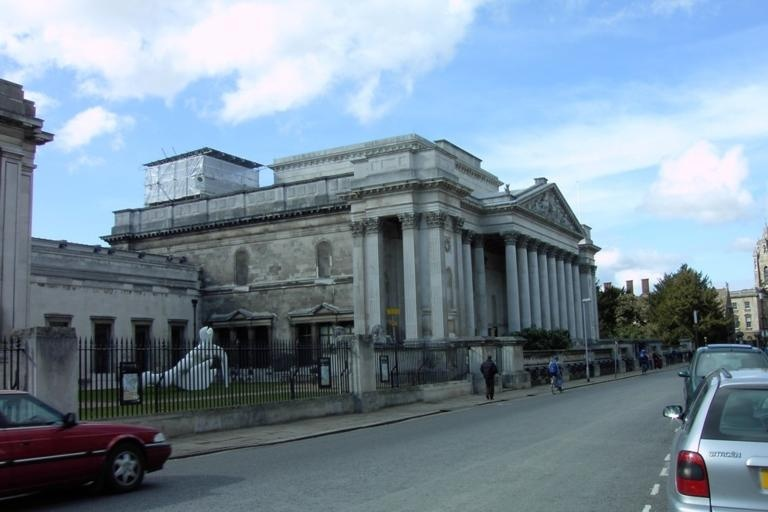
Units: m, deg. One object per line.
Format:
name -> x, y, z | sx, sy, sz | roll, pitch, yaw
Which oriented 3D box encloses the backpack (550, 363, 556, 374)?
backpack -> 9.421, 6.198, 38.340 | 0.341, 0.583, 0.686 | -5, -10, 9
